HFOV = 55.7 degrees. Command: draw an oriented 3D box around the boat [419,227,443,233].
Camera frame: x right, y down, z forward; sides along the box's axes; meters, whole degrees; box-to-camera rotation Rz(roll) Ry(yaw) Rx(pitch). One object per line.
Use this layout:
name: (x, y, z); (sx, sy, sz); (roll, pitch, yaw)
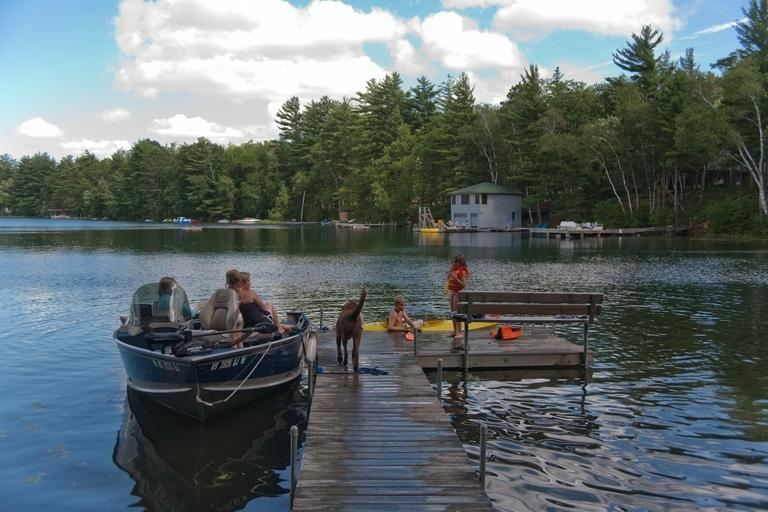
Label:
boat: (5.272, -2.961, 82.998); (2.194, 0.648, 3.342); (0, -1, -16)

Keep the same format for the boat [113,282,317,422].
boat: (-4.225, 2.196, 17.984); (4.569, 3.360, 2.886); (0, 0, -19)

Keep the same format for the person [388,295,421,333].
person: (0.420, 1.677, 20.842); (0.602, 0.997, 0.926); (-1, 0, -9)

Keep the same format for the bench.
bench: (3.792, 1.911, 19.466); (3.730, 1.992, 1.253); (0, -2, 6)

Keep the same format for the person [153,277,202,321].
person: (-5.629, 1.083, 18.700); (1.008, 0.953, 0.647); (35, 26, 34)
